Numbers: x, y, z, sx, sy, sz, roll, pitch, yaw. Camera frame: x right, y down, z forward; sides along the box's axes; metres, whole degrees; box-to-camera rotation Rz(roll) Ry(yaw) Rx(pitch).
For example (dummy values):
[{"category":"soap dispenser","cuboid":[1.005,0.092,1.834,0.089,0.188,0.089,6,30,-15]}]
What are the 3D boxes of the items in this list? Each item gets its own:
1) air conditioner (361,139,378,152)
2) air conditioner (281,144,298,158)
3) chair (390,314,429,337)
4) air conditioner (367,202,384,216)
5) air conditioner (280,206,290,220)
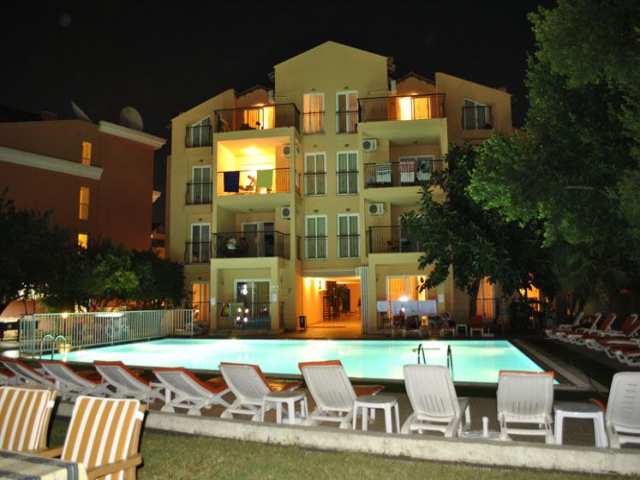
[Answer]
[{"category":"air conditioner","cuboid":[2.273,-4.311,26.380,0.889,0.690,0.504,-1,-2,-30]},{"category":"air conditioner","cuboid":[-1.441,-4.167,26.881,0.712,0.555,0.756,-1,-3,1]},{"category":"chair","cuboid":[3.442,3.393,22.395,1.025,0.681,1.042,3,-8,-26]},{"category":"air conditioner","cuboid":[2.545,-1.422,26.375,0.689,0.575,0.735,-4,-6,2]},{"category":"air conditioner","cuboid":[-1.566,-1.204,26.649,0.464,0.512,0.491,-1,-3,8]}]
